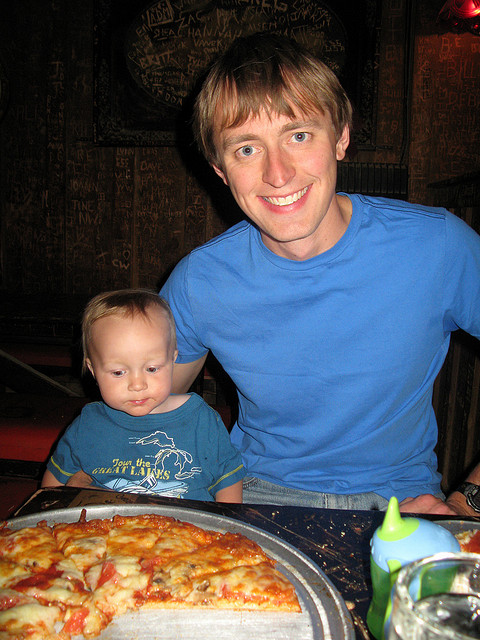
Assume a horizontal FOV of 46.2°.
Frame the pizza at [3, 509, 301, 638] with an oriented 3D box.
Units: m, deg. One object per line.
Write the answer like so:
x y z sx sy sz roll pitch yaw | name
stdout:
-0.157 0.403 0.889 0.500 0.080 0.225 2 16 6 | pizza

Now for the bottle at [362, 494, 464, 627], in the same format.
0.199 0.324 0.703 0.097 0.157 0.159 -5 16 20 | bottle
